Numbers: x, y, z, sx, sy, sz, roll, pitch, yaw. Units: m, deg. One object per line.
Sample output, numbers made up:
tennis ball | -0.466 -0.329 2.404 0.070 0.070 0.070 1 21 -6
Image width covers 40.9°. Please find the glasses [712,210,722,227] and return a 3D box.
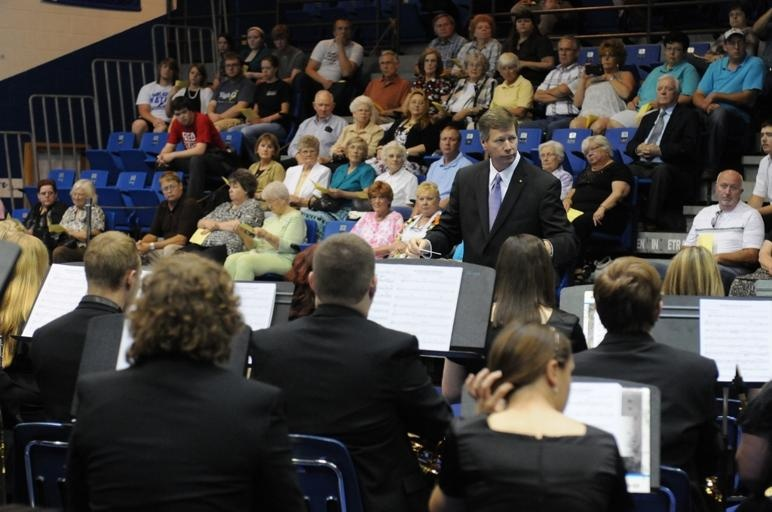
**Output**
glasses | 2.772 -0.317 8.743 0.087 0.125 0.034 23 -4 30

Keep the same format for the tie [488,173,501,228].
tie | 0.713 -0.372 6.829 0.087 0.347 0.042 1 4 4

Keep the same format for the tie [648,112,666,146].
tie | 2.470 -1.191 9.536 0.176 0.311 0.126 2 4 22

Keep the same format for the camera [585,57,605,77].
camera | 2.070 -1.858 10.377 0.206 0.143 0.114 0 3 -8
